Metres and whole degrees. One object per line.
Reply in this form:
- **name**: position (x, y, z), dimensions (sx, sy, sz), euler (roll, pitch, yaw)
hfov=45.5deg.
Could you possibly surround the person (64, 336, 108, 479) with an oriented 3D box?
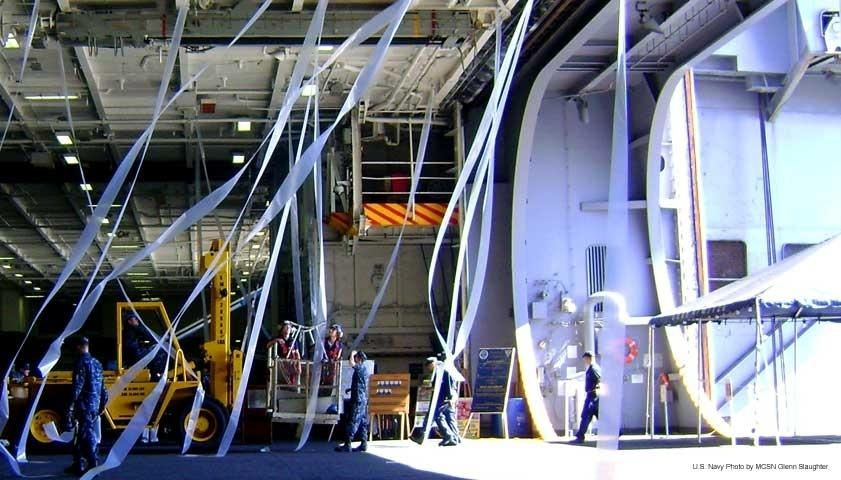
- **person**: position (-6.743, 3.396, 20.417), dimensions (0.739, 2.722, 1.247), euler (7, -15, -16)

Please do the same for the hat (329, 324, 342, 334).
- **hat**: position (-2.052, 2.119, 23.900), dimensions (0.219, 0.282, 0.268), euler (-3, -21, 30)

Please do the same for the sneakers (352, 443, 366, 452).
- **sneakers**: position (-1.378, 4.720, 22.891), dimensions (0.298, 0.205, 0.351), euler (3, -15, -3)

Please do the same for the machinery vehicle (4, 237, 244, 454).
- **machinery vehicle**: position (-8.187, 2.629, 27.446), dimensions (6.001, 4.494, 3.050), euler (0, 0, -7)

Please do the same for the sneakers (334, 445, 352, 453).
- **sneakers**: position (-1.754, 4.743, 22.896), dimensions (0.398, 0.154, 0.267), euler (1, -15, 5)

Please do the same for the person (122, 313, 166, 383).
- **person**: position (-6.287, 2.389, 22.942), dimensions (0.986, 1.652, 1.467), euler (10, -16, -26)
